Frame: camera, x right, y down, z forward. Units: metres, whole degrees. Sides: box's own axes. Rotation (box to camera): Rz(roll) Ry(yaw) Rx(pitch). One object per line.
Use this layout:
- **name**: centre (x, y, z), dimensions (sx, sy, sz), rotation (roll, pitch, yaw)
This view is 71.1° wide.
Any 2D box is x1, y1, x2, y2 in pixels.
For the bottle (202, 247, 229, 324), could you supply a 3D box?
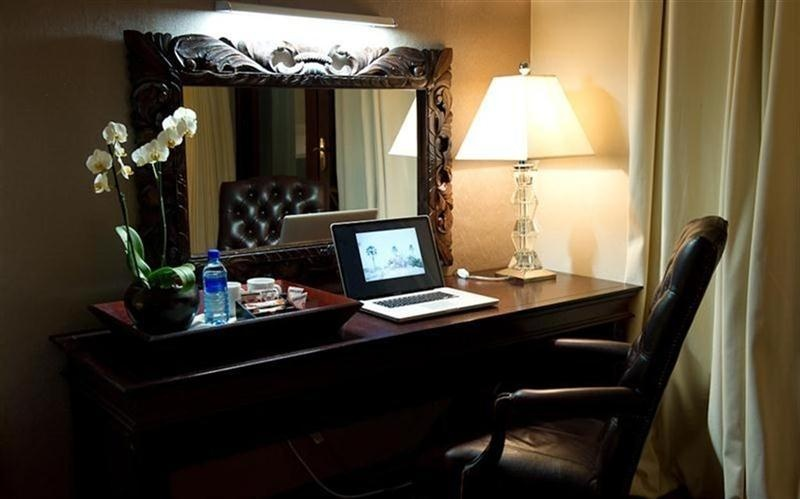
- **bottle**: centre (-0.701, 0.144, 2.086), dimensions (0.099, 0.268, 0.192), rotation (-7, 16, -12)

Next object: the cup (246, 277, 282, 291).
- **cup**: centre (-0.598, 0.139, 2.389), dimensions (0.089, 0.062, 0.067), rotation (2, 1, 1)

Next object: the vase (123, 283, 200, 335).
- **vase**: centre (-0.843, 0.208, 1.977), dimensions (0.198, 0.129, 0.194), rotation (1, -1, -15)

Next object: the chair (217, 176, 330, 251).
- **chair**: centre (-0.599, -0.197, 2.591), dimensions (0.332, 0.449, 0.363), rotation (-4, 14, -34)

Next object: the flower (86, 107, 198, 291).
- **flower**: centre (-0.935, -0.205, 2.157), dimensions (0.420, 0.655, 0.568), rotation (-12, 18, -27)

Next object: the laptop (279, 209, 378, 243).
- **laptop**: centre (-0.409, -0.113, 2.621), dimensions (0.279, 0.183, 0.188), rotation (-3, 14, -24)
